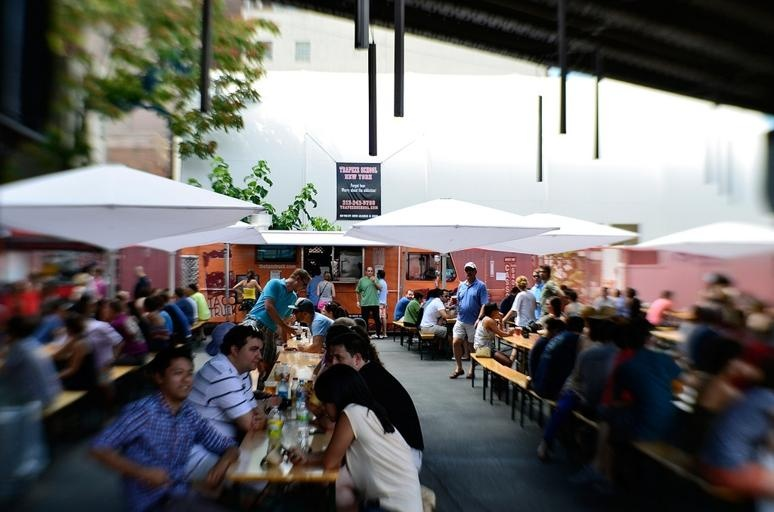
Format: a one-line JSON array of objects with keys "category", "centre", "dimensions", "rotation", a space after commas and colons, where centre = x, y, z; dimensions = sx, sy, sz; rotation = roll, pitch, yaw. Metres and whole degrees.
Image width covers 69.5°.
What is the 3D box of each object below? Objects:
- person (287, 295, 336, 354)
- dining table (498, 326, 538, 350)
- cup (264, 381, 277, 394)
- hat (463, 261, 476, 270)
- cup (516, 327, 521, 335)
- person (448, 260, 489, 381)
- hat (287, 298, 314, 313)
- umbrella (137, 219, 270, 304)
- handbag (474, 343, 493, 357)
[{"category": "person", "centre": [-1.264, 1.215, 9.826], "dimensions": [0.988, 0.976, 0.679], "rotation": [-5, 1, -3]}, {"category": "dining table", "centre": [2.613, 1.677, 10.992], "dimensions": [0.534, 0.197, 0.851], "rotation": [2, 1, 8]}, {"category": "cup", "centre": [-1.478, 1.695, 7.144], "dimensions": [0.133, 0.097, 0.132], "rotation": [0, -11, 0]}, {"category": "hat", "centre": [1.821, 0.187, 12.411], "dimensions": [0.246, 0.198, 0.382], "rotation": [-2, -10, 18]}, {"category": "cup", "centre": [2.715, 1.571, 11.592], "dimensions": [0.113, 0.127, 0.116], "rotation": [1, -5, 0]}, {"category": "person", "centre": [1.847, 1.400, 12.317], "dimensions": [0.880, 2.496, 0.719], "rotation": [-2, -5, 29]}, {"category": "hat", "centre": [-1.520, 0.869, 9.760], "dimensions": [0.408, 0.211, 0.299], "rotation": [9, -1, 5]}, {"category": "umbrella", "centre": [-4.286, 0.228, 13.355], "dimensions": [2.480, 0.984, 2.371], "rotation": [-2, -2, 7]}, {"category": "handbag", "centre": [1.857, 1.848, 10.901], "dimensions": [0.371, 0.182, 0.465], "rotation": [1, -7, 0]}]
